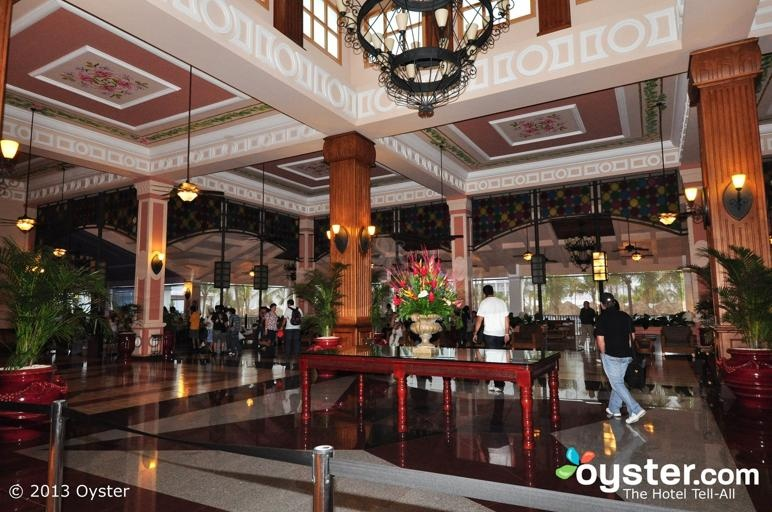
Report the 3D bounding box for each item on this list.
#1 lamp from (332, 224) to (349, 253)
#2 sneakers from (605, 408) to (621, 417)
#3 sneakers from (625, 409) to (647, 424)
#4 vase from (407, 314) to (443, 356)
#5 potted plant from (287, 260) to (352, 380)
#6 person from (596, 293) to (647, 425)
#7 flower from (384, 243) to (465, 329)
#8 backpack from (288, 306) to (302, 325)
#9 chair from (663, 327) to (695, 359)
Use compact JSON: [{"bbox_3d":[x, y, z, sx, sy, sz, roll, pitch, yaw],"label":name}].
[{"bbox_3d":[-1.037,-0.386,12.230,0.350,0.658,0.123,0,-11,-4],"label":"lamp"},{"bbox_3d":[3.560,2.458,8.312,0.092,0.104,0.245,1,1,-19],"label":"sneakers"},{"bbox_3d":[3.822,2.436,8.094,0.570,0.205,0.197,7,-13,-39],"label":"sneakers"},{"bbox_3d":[0.636,1.249,8.669,0.585,0.587,0.557,1,-2,-28],"label":"vase"},{"bbox_3d":[-1.392,1.251,11.933,1.369,2.016,1.133,-1,2,-23],"label":"potted plant"},{"bbox_3d":[3.677,1.575,8.385,0.622,1.992,0.548,6,-12,-32],"label":"person"},{"bbox_3d":[0.639,0.497,8.819,0.830,1.042,0.900,0,-7,-20],"label":"flower"},{"bbox_3d":[-2.445,1.671,14.563,0.366,0.502,0.518,2,11,-1],"label":"backpack"},{"bbox_3d":[7.986,2.377,14.662,0.859,0.859,0.893,-3,-16,24],"label":"chair"}]
